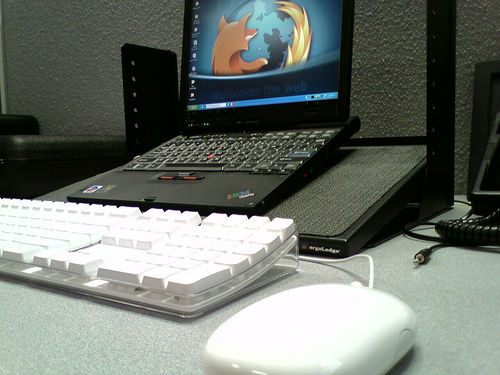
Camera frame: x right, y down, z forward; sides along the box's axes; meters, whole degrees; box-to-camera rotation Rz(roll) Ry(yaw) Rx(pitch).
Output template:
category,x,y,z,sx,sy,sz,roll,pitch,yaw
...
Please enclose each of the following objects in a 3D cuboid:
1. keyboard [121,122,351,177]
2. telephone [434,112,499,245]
category,x,y,z,sx,sy,sz,roll,pitch,yaw
keyboard,-0.034,-0.064,0.651,0.343,0.070,0.168,5,15,29
telephone,0.290,-0.022,0.528,0.074,0.135,0.237,4,14,25
